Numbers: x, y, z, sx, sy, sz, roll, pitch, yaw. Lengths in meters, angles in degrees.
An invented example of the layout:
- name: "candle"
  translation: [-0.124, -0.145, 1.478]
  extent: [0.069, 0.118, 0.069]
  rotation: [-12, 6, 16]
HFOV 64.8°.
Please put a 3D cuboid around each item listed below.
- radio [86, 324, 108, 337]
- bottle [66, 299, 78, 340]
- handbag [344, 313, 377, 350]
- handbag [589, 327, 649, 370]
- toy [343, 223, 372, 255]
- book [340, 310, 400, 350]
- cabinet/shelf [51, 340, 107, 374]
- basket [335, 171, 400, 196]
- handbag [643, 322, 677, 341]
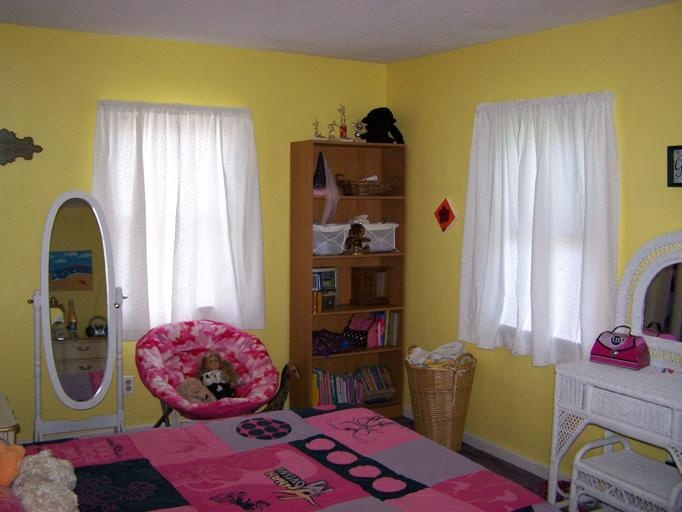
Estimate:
- name: "radio"
  translation: [-1.806, 0.544, 3.969]
  extent: [0.118, 0.082, 0.069]
  rotation: [4, 10, -15]
- name: "bottle"
  translation: [-1.956, 0.453, 3.906]
  extent: [0.077, 0.285, 0.023]
  rotation: [-5, 9, -29]
- name: "handbag"
  translation: [0.180, 0.701, 4.964]
  extent: [0.288, 0.278, 0.152]
  rotation: [2, -14, 45]
- name: "handbag"
  translation: [1.741, 0.538, 3.370]
  extent: [0.196, 0.286, 0.343]
  rotation: [5, -4, -39]
- name: "toy"
  translation: [0.138, -0.165, 4.794]
  extent: [0.240, 0.284, 0.248]
  rotation: [-1, 3, -25]
- name: "book"
  translation: [0.278, 0.655, 4.972]
  extent: [0.574, 0.324, 0.395]
  rotation: [-2, -1, 21]
- name: "cabinet/shelf"
  translation: [-1.910, 0.792, 4.070]
  extent: [0.336, 0.320, 0.230]
  rotation: [-2, -4, -8]
- name: "basket"
  translation: [0.231, -0.666, 4.967]
  extent: [0.535, 0.203, 0.398]
  rotation: [-4, 9, -26]
- name: "handbag"
  translation: [1.994, 0.465, 3.379]
  extent: [0.059, 0.065, 0.176]
  rotation: [-4, 14, -32]
